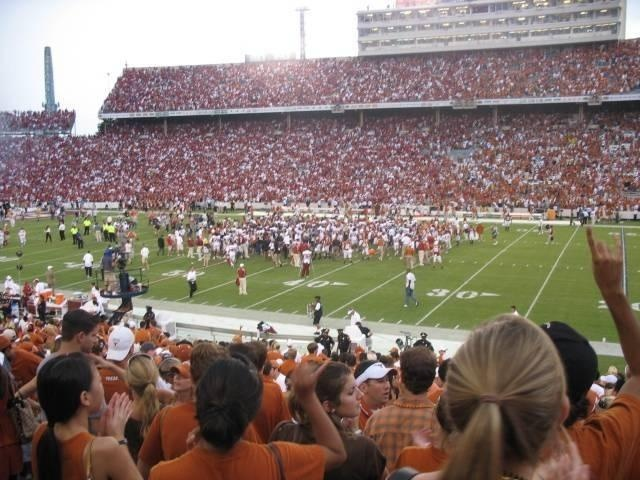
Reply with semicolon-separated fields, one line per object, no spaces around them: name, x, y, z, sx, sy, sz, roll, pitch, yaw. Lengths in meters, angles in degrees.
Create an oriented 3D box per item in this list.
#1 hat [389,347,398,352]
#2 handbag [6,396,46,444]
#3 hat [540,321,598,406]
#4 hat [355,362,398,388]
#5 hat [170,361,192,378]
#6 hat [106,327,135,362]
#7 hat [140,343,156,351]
hat;1.118;1.641;10.025;0.100;0.086;0.133;-2;-2;1
handbag;-2.167;1.319;4.923;0.182;0.390;0.106;-6;9;-31
hat;1.247;0.620;3.348;0.333;0.412;0.240;-6;9;-31
hat;0.409;1.063;5.173;0.243;0.084;0.161;-29;-15;26
hat;-1.016;0.963;5.010;0.105;0.102;0.177;-1;-29;22
hat;-1.683;0.869;5.706;0.171;0.165;0.305;7;34;-4
hat;-1.953;1.224;7.631;0.094;0.101;0.151;8;-11;-11
